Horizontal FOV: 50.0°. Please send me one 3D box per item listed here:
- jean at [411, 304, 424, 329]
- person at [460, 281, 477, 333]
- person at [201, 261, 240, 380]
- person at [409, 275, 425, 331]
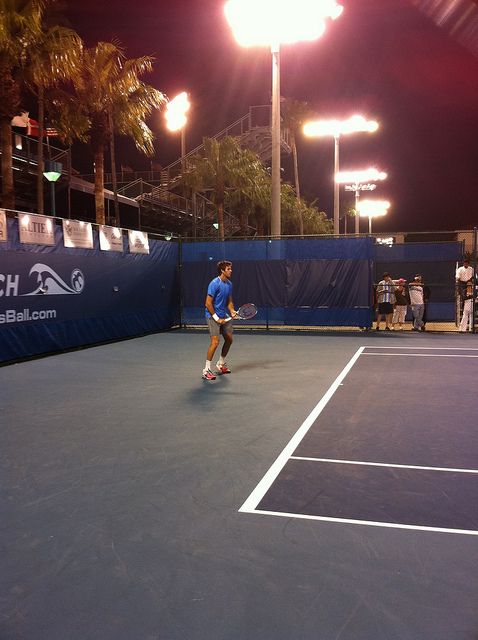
[{"bbox_3d":[6.427,-0.124,18.474,0.340,0.924,0.643,1,6,30],"label":"jean"},{"bbox_3d":[7.837,-0.435,17.514,0.512,1.773,1.196,0,6,25],"label":"person"},{"bbox_3d":[-0.386,-0.022,9.764,0.679,2.125,1.514,-3,5,-1],"label":"person"},{"bbox_3d":[6.428,-0.611,18.494,0.494,1.938,1.175,0,6,21],"label":"person"}]
